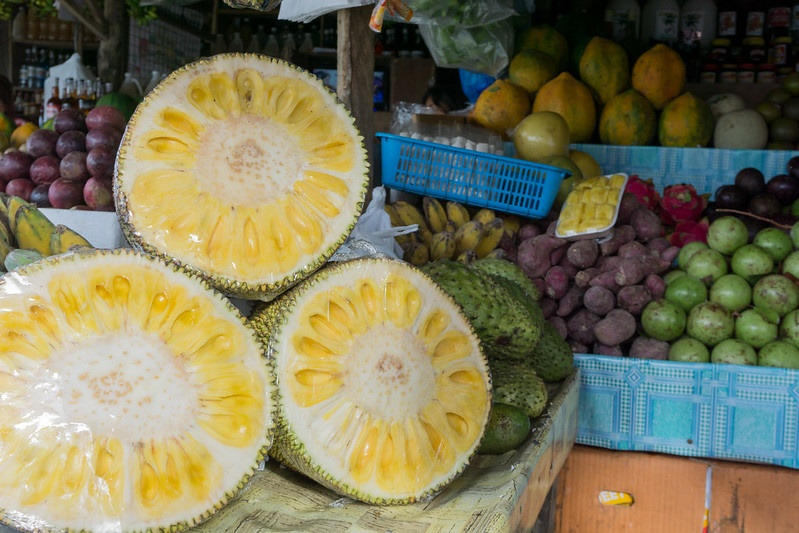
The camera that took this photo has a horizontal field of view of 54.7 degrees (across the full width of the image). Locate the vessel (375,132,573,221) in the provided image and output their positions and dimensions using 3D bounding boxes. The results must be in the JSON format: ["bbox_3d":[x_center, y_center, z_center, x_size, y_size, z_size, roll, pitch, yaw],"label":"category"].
[{"bbox_3d":[0.374,-0.489,4.373,0.907,0.246,0.504,16,7,3],"label":"vessel"}]

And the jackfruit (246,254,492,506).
[{"bbox_3d":[-0.129,0.414,2.832,0.855,0.842,0.506,36,-29,-15],"label":"jackfruit"}]
